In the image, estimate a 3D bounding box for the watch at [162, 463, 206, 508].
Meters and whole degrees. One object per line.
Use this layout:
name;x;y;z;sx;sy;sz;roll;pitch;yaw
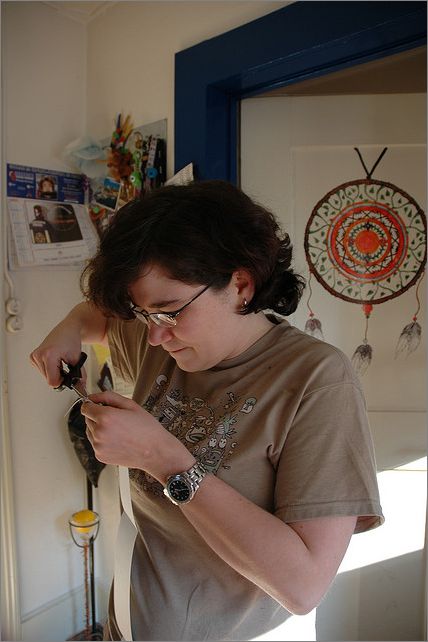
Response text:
watch;-0.042;0.238;0.811;0.070;0.045;0.062;-41;-8;-2

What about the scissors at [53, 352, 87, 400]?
scissors;-0.288;0.111;1.137;0.034;0.072;0.118;28;13;-33

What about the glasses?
glasses;-0.075;-0.037;1.004;0.130;0.036;0.133;3;36;34
